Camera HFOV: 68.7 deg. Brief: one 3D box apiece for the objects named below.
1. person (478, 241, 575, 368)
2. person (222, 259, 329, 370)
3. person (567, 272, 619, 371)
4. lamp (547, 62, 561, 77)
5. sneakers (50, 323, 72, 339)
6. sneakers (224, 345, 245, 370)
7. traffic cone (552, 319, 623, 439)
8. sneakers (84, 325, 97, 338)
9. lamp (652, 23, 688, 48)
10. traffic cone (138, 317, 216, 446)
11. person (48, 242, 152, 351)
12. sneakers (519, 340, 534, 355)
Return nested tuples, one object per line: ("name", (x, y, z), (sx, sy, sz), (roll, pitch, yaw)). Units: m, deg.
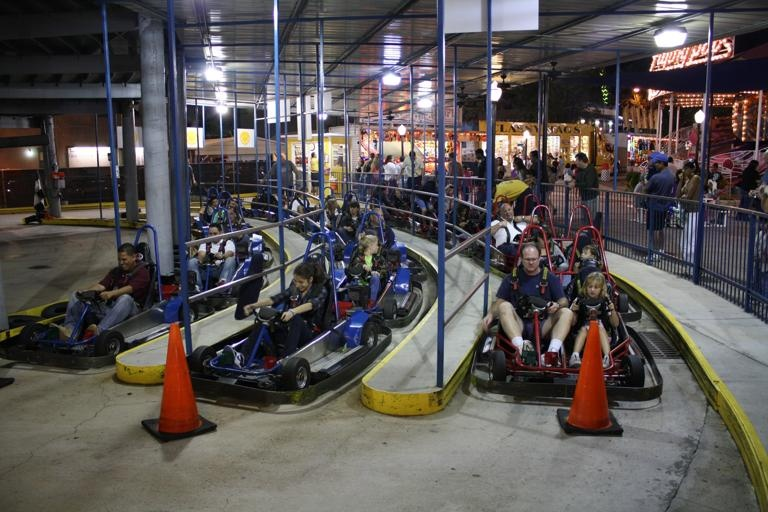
("person", (1.752, 0.603, 7.079), (0.900, 1.122, 1.452), (2, 1, 11))
("person", (-1.183, 0.754, 6.939), (0.736, 0.988, 1.518), (-5, 1, 24))
("person", (2.467, 0.685, 6.604), (0.505, 0.715, 1.212), (0, 10, 15))
("lamp", (4.293, -4.654, 14.140), (0.426, 0.478, 0.439), (2, 14, 15))
("sneakers", (-4.411, 1.011, 7.672), (0.169, 0.188, 0.492), (-13, 16, -41))
("sneakers", (-1.741, 1.154, 6.484), (0.115, 0.344, 0.130), (-10, 15, -8))
("traffic cone", (2.116, 1.216, 5.713), (0.621, 1.089, 0.424), (0, 12, 9))
("sneakers", (-4.020, 1.033, 7.670), (0.086, 0.057, 0.145), (27, 66, 38))
("lamp", (5.125, -3.945, 10.019), (0.443, 0.315, 0.324), (-4, 2, -40))
("traffic cone", (-2.148, 1.255, 5.736), (0.756, 1.118, 0.493), (-4, 12, -7))
("person", (-3.964, 0.531, 7.959), (0.914, 1.089, 1.721), (3, 11, 5))
("sneakers", (1.667, 1.053, 6.501), (0.160, 0.095, 0.294), (0, 12, 12))
